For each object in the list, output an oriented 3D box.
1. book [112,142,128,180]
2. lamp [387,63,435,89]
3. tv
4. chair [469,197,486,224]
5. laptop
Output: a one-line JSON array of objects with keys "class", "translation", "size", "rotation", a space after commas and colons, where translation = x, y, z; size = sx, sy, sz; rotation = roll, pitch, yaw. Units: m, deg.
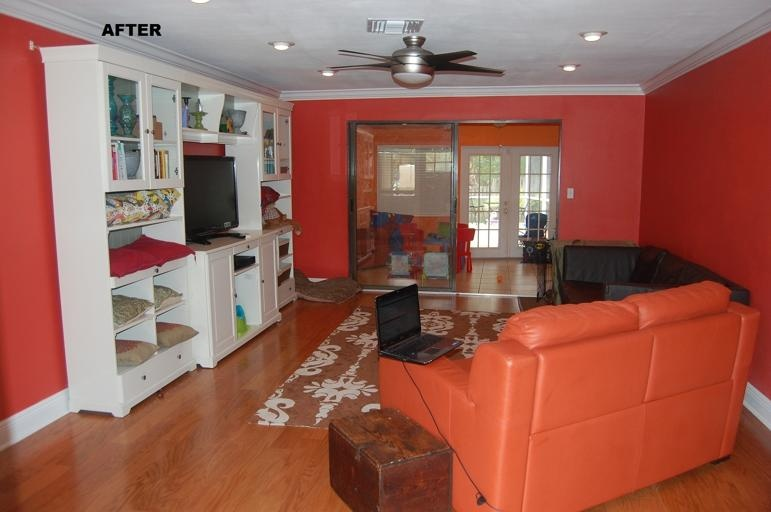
[{"class": "book", "translation": [-2.144, -0.756, 4.332], "size": [0.113, 0.294, 0.326], "rotation": [-5, 7, -21]}, {"class": "lamp", "translation": [0.176, -1.542, 4.647], "size": [0.311, 0.111, 0.303], "rotation": [-5, 8, -41]}, {"class": "tv", "translation": [-1.851, -0.572, 5.660], "size": [0.370, 0.875, 1.013], "rotation": [2, 6, 10]}, {"class": "chair", "translation": [1.762, -0.883, 10.584], "size": [0.455, 0.532, 0.405], "rotation": [2, 13, 11]}, {"class": "laptop", "translation": [0.144, 0.530, 4.036], "size": [0.493, 0.486, 0.674], "rotation": [-4, -5, 40]}]
